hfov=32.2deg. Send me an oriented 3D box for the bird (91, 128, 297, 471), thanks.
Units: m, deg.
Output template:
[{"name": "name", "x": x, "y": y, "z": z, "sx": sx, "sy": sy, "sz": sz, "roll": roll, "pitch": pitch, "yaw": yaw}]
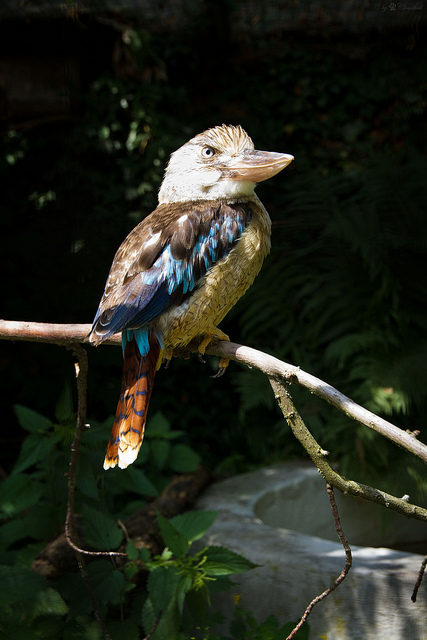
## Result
[{"name": "bird", "x": -0.172, "y": -0.134, "z": 2.657, "sx": 0.530, "sy": 0.939, "sz": 0.988, "roll": 22, "pitch": 38, "yaw": 40}]
